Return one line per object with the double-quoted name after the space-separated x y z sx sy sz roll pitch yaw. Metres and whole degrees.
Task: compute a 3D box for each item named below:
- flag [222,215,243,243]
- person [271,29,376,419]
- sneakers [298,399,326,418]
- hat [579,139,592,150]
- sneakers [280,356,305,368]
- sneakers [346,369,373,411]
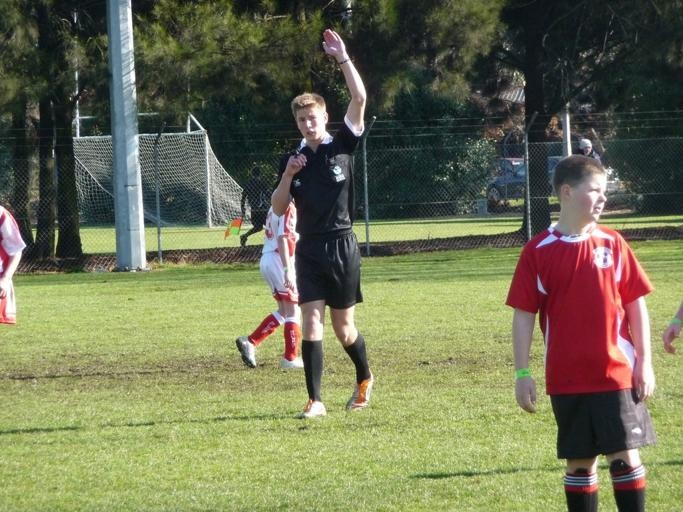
-2.448 -0.604 24.470 0.613 0.709 0.046 16 37 16 "flag"
-0.186 -0.360 11.606 0.977 3.995 0.679 -1 7 -3 "person"
-0.292 1.612 11.568 0.117 0.176 0.361 -6 -8 42 "sneakers"
4.295 -1.981 19.343 0.178 0.228 0.280 0 11 2 "hat"
-0.588 1.264 13.091 0.238 0.125 0.144 -3 1 8 "sneakers"
0.206 1.478 11.804 0.195 0.491 0.166 27 -3 -38 "sneakers"
